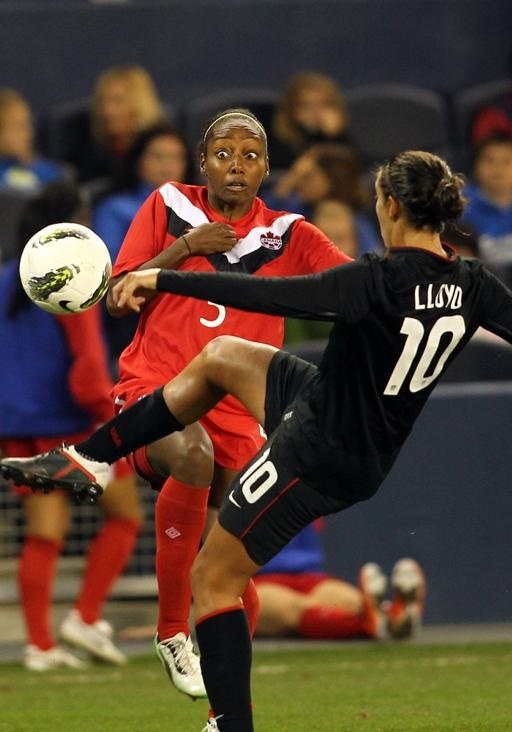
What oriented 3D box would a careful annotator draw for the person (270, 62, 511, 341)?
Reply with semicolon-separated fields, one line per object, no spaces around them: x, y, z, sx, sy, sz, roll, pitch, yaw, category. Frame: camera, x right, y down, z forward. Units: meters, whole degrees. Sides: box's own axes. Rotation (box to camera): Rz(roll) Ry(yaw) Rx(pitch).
0.428;-1.078;5.305;1.222;1.254;1.211;0;5;-3;person
